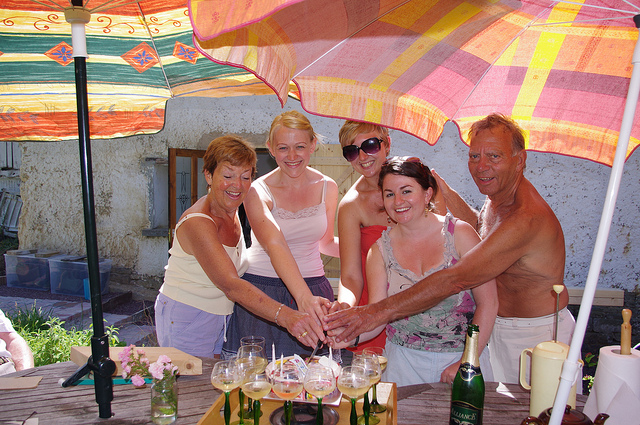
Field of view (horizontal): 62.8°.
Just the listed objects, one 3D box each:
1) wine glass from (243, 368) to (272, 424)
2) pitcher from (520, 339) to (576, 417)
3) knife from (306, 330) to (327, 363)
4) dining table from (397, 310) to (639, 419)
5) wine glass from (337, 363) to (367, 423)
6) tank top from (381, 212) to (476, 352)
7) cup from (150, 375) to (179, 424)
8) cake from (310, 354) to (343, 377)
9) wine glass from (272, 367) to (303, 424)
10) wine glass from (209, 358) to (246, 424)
[{"bbox_3d":[-0.390,1.116,3.241,0.165,0.324,0.305,1,-3,-8],"label":"wine glass"},{"bbox_3d":[1.355,0.993,3.138,0.323,0.468,0.223,-1,-3,36],"label":"pitcher"},{"bbox_3d":[-0.017,0.970,3.825,0.043,0.292,0.032,30,-17,-9],"label":"knife"},{"bbox_3d":[1.200,0.910,3.235,1.302,0.712,0.926,-2,-4,40],"label":"dining table"},{"bbox_3d":[0.194,1.097,3.210,0.176,0.355,0.285,1,-3,-2],"label":"wine glass"},{"bbox_3d":[0.815,0.602,4.244,0.790,1.015,0.568,-5,-1,12],"label":"tank top"},{"bbox_3d":[-0.938,1.141,3.218,0.167,0.291,0.081,2,-3,-26],"label":"cup"},{"bbox_3d":[0.074,1.020,3.424,0.151,0.052,0.147,17,3,-42],"label":"cake"},{"bbox_3d":[-0.193,1.103,3.159,0.182,0.325,0.111,1,-2,-5],"label":"wine glass"},{"bbox_3d":[-0.571,1.092,3.245,0.200,0.368,0.264,2,-3,-15],"label":"wine glass"}]
